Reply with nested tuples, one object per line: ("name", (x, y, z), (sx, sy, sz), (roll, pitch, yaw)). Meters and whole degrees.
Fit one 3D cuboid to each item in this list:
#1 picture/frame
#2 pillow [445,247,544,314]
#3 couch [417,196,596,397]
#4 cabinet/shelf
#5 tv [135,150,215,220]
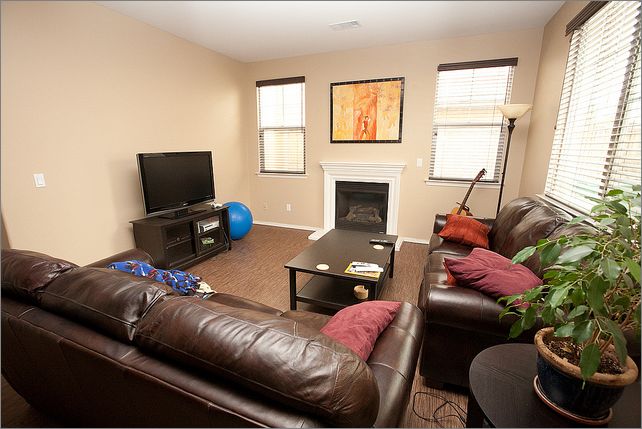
("picture/frame", (0.683, -1.506, 5.722), (0.993, 0.743, 0.023), (6, 18, 26))
("pillow", (1.290, 0.465, 3.075), (0.472, 0.140, 0.467), (12, 15, 25))
("couch", (1.836, 0.589, 4.386), (1.300, 1.396, 3.362), (5, 12, 16))
("cabinet/shelf", (-1.707, 0.310, 5.050), (0.448, 0.638, 1.058), (6, 15, 26))
("tv", (-1.741, -0.389, 4.952), (0.284, 0.765, 1.093), (6, 14, 29))
